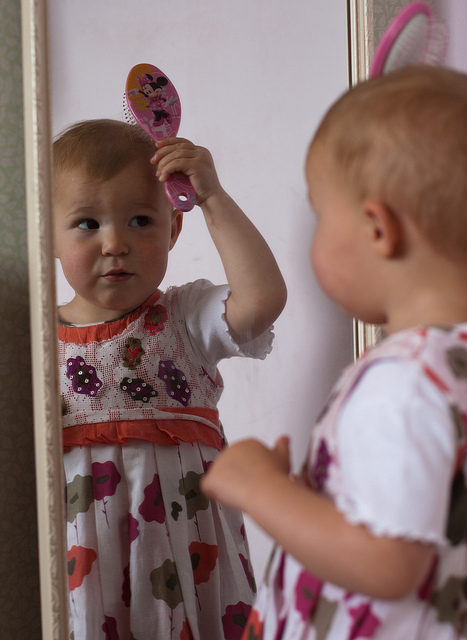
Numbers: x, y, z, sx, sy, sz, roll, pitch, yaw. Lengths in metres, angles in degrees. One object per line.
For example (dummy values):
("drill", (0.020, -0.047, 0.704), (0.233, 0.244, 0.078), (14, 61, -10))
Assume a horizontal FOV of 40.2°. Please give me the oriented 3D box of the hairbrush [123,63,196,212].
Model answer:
("hairbrush", (-0.077, -0.203, 0.698), (0.070, 0.157, 0.018), (-8, 23, 14))
